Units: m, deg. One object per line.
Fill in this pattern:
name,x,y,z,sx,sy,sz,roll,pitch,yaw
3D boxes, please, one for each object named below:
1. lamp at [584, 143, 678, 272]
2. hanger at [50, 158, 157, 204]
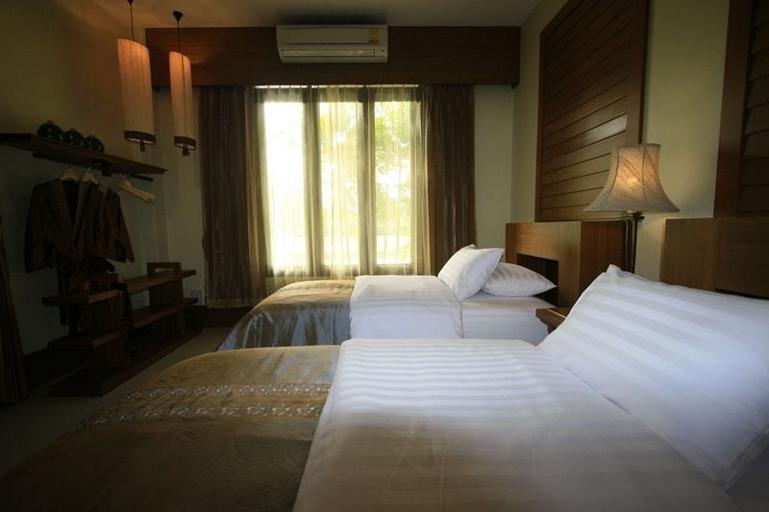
lamp,1.480,-0.396,2.962,0.411,0.986,0.441,0,4,1
hanger,-2.521,-0.670,4.264,0.365,0.236,0.673,3,2,-1
